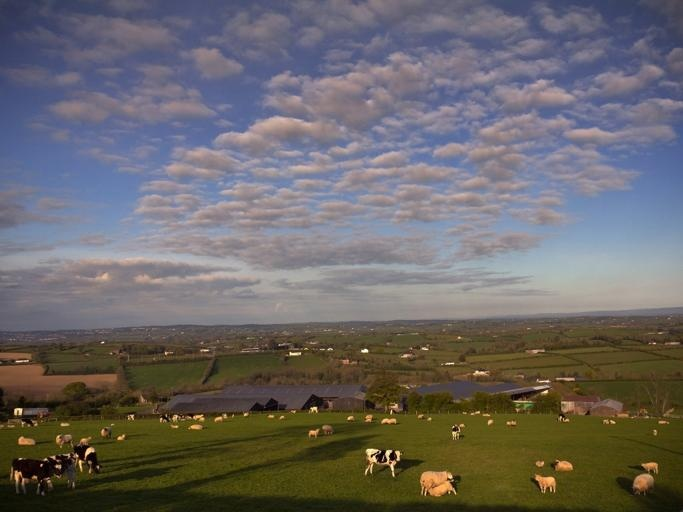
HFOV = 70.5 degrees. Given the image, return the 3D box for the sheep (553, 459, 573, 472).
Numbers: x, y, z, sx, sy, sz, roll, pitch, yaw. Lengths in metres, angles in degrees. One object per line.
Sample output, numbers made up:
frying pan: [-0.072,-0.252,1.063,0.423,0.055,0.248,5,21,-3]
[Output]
sheep: [20.054,18.942,43.615,1.760,0.946,0.879,2,13,9]

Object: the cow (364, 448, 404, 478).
cow: [3.724,18.497,43.600,2.948,2.076,3.388,-1,-4,8]

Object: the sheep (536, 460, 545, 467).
sheep: [18.242,19.035,44.146,0.670,0.185,0.572,-3,-1,-15]

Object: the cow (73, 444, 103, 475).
cow: [-22.531,17.900,42.708,2.500,2.276,1.428,-2,-6,18]

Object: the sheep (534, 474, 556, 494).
sheep: [16.869,18.670,39.719,1.571,1.069,1.721,-2,-4,12]

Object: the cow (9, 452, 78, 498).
cow: [-23.595,17.275,38.221,4.053,2.826,1.888,2,-6,-33]
